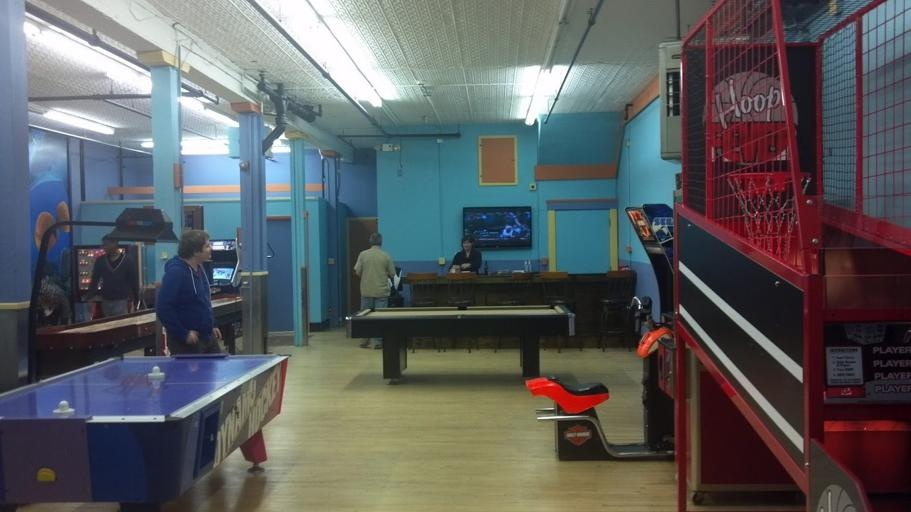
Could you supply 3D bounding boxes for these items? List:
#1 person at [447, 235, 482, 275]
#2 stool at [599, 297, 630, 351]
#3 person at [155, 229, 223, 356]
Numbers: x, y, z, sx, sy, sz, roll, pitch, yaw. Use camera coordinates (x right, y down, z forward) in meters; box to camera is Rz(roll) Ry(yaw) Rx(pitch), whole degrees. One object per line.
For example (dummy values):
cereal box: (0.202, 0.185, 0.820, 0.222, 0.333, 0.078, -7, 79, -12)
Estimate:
person: (0.186, 0.073, 12.583, 0.562, 0.934, 0.544, 0, 5, 15)
stool: (2.590, 1.085, 11.364, 0.473, 0.864, 0.521, 1, 13, 11)
person: (-3.121, 0.449, 8.047, 0.654, 1.427, 0.420, -8, 14, -25)
